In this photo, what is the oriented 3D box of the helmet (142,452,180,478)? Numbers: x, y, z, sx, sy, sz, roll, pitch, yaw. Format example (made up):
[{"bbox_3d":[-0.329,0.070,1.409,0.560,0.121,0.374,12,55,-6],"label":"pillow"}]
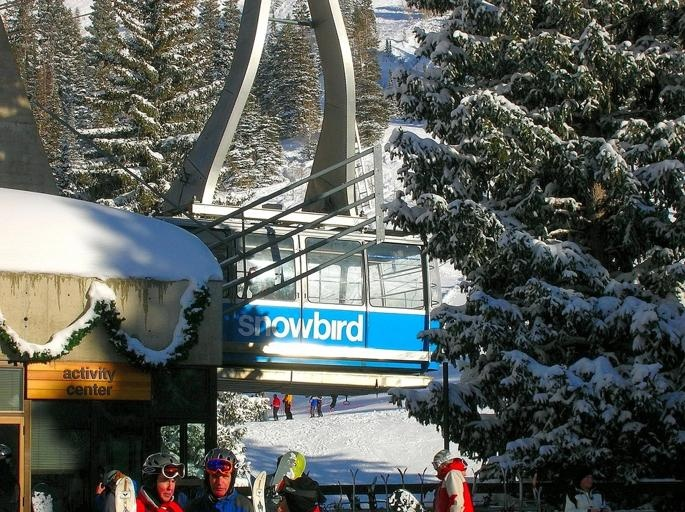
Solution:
[{"bbox_3d":[-2.908,3.389,28.962,0.490,0.338,0.400,0,-7,1],"label":"helmet"}]

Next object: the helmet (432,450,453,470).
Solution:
[{"bbox_3d":[1.705,3.458,30.612,0.334,0.306,0.248,-31,-18,28],"label":"helmet"}]
